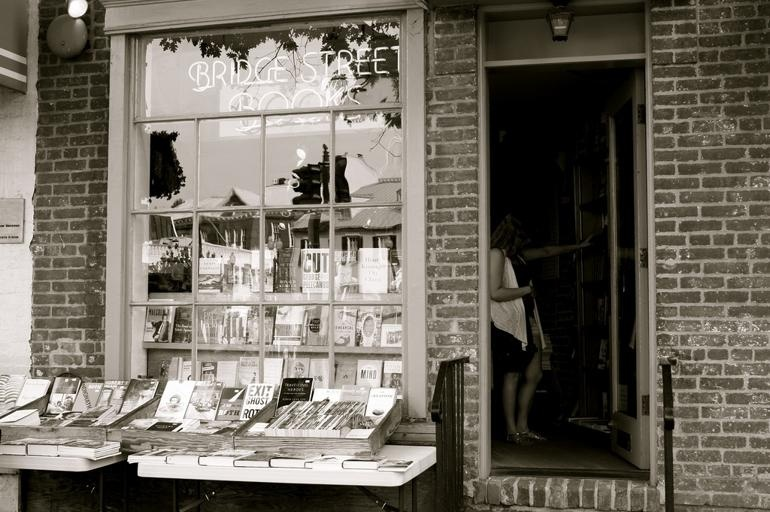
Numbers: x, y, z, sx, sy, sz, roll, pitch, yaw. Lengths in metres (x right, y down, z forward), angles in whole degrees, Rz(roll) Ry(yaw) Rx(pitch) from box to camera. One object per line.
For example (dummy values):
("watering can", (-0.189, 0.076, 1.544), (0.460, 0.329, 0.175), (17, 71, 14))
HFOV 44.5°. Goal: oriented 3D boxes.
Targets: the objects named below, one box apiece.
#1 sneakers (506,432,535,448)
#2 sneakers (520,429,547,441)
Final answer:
("sneakers", (1.323, 1.824, 9.298), (0.212, 0.086, 0.118), (-2, 15, 29))
("sneakers", (1.450, 1.807, 9.385), (0.330, 0.121, 0.119), (3, 5, 1))
